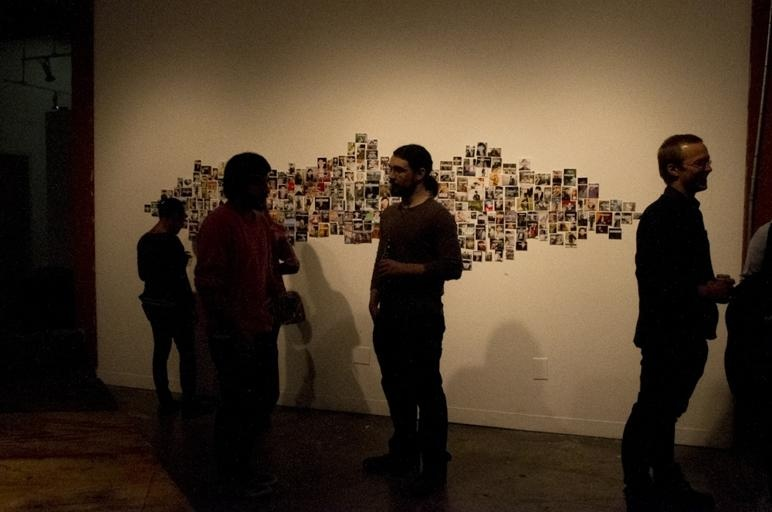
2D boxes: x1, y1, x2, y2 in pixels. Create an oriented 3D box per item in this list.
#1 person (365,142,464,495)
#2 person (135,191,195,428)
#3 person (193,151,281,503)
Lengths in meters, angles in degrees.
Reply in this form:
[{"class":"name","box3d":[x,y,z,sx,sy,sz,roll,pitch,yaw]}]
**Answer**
[{"class":"person","box3d":[0.169,0.343,3.873,0.571,2.014,0.692,3,12,4]},{"class":"person","box3d":[-1.481,0.344,4.190,0.348,1.447,0.327,-3,13,-21]},{"class":"person","box3d":[-0.828,0.388,3.694,0.478,1.954,0.502,7,13,22]}]
